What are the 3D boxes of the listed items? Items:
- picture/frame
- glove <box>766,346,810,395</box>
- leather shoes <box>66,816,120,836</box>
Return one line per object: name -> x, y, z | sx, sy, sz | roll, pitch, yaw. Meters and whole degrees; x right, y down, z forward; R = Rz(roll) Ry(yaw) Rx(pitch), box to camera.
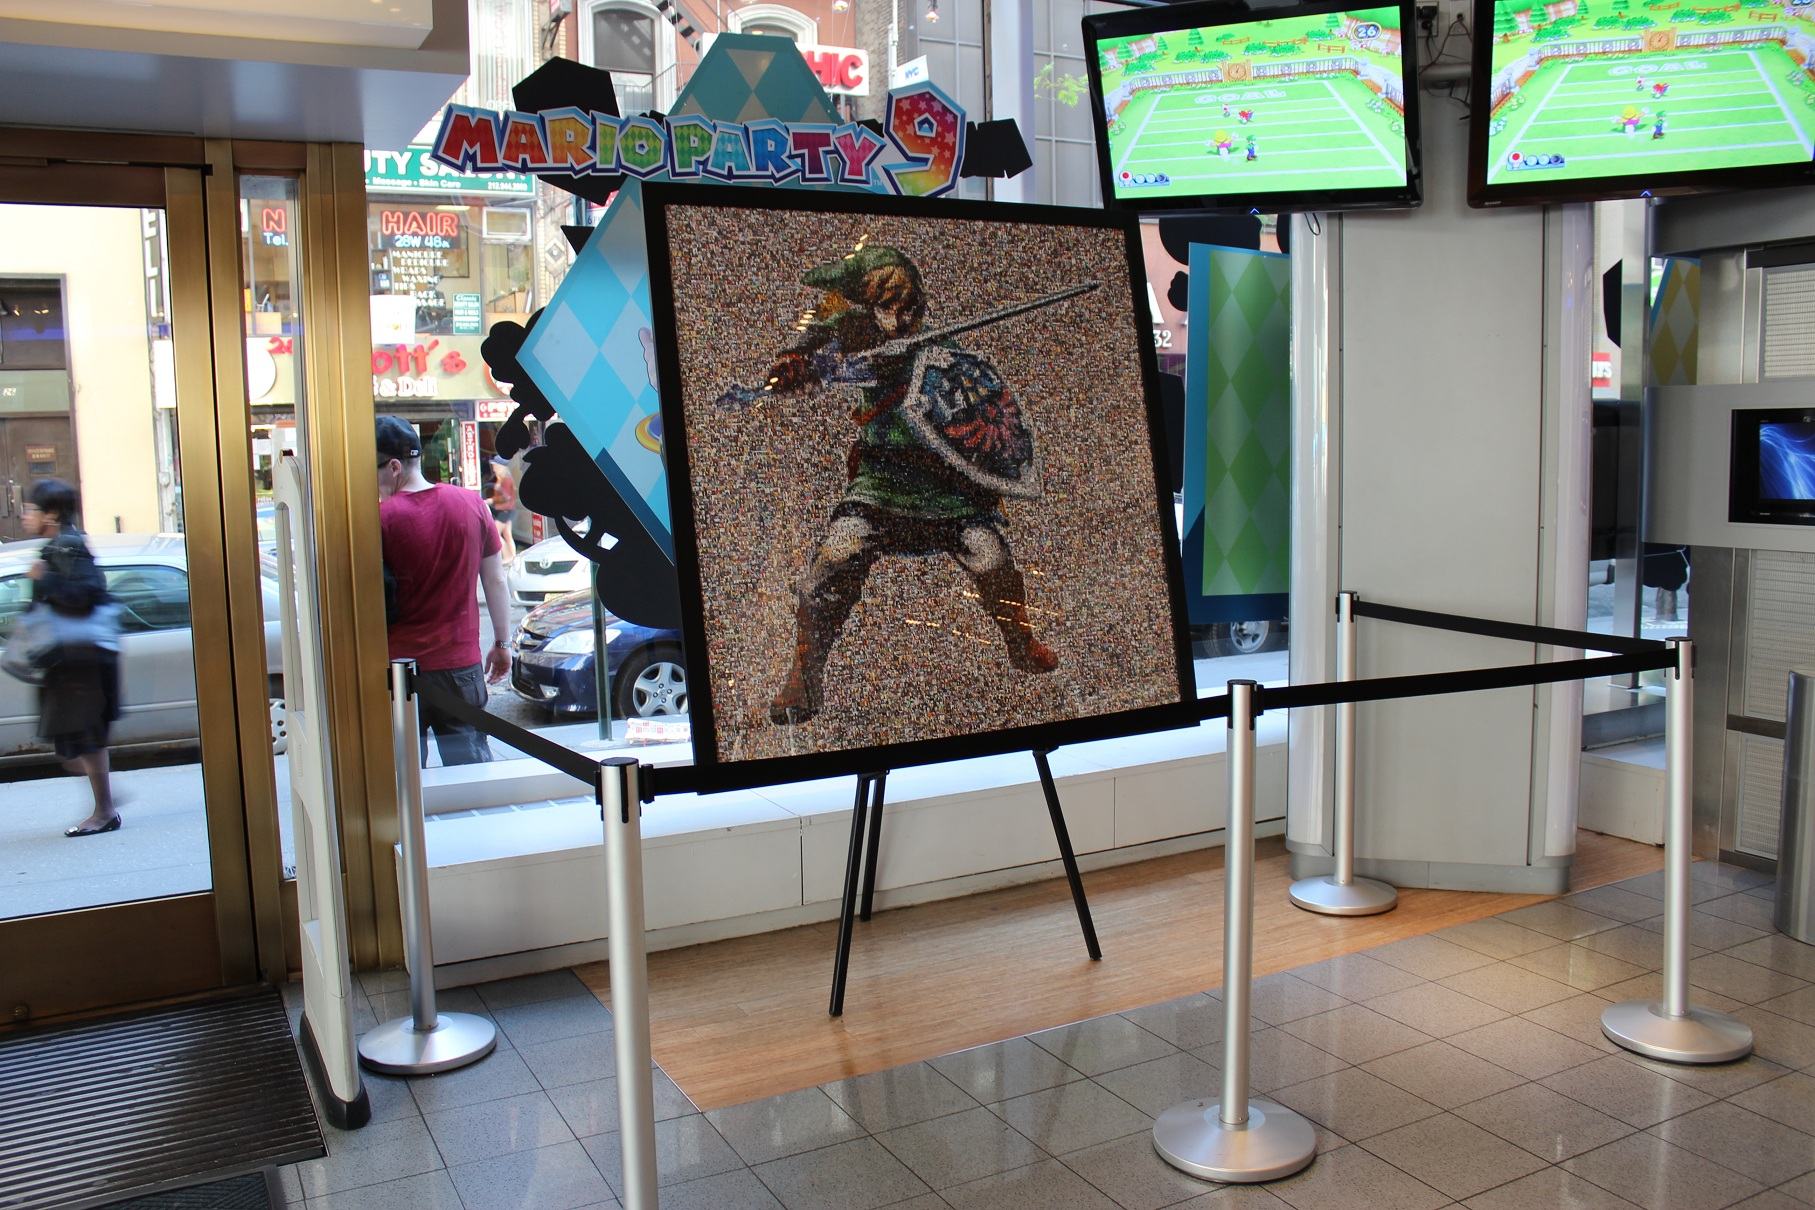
picture/frame -> -0.018, -0.352, 4.185 | 2.163, 2.198, 0.101 | -4, 0, -22
glove -> -0.317, -0.624, 3.983 | 0.124, 0.111, 0.031 | -10, 14, -27
leather shoes -> -2.732, 0.740, 4.966 | 0.148, 0.058, 0.053 | 0, -3, -30
